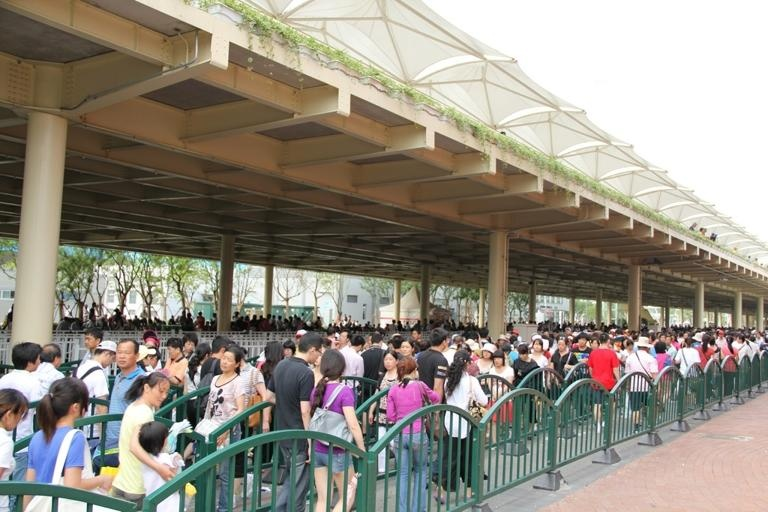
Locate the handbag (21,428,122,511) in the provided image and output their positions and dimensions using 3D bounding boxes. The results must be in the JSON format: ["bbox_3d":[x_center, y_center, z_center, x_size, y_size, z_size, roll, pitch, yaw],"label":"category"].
[{"bbox_3d":[-3.238,2.262,6.343,0.712,0.845,1.099,1,-9,-10],"label":"handbag"}]

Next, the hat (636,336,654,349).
[{"bbox_3d":[6.487,2.185,15.497,0.448,0.149,0.413,6,7,-10],"label":"hat"}]

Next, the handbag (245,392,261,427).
[{"bbox_3d":[-1.992,2.357,9.251,0.252,0.555,0.539,2,-19,0],"label":"handbag"}]

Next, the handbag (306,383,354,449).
[{"bbox_3d":[-0.686,2.093,7.874,0.728,0.740,0.448,15,-27,-4],"label":"handbag"}]
